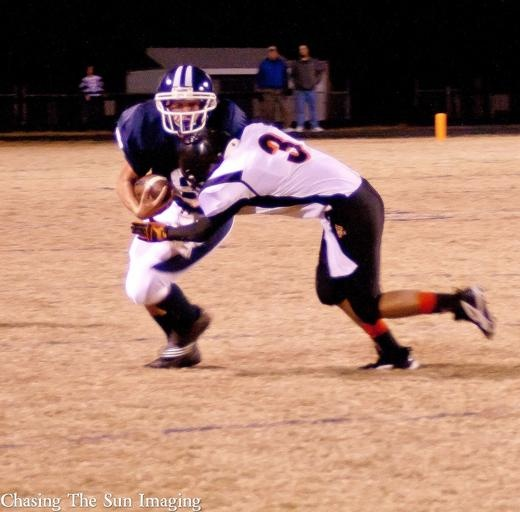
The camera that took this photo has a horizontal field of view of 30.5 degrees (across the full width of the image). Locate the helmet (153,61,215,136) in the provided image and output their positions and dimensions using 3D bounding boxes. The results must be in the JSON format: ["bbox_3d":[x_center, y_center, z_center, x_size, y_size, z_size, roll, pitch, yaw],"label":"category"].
[{"bbox_3d":[-0.303,-0.629,3.835,0.220,0.292,0.190,-3,5,-34],"label":"helmet"}]

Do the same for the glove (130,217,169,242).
[{"bbox_3d":[-0.458,-0.102,3.926,0.145,0.084,0.211,0,4,-6],"label":"glove"}]

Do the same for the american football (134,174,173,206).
[{"bbox_3d":[-0.443,-0.285,3.889,0.178,0.115,0.105,22,47,14],"label":"american football"}]

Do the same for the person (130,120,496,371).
[{"bbox_3d":[0.223,0.022,4.171,1.785,0.916,0.661,5,-10,27],"label":"person"}]
